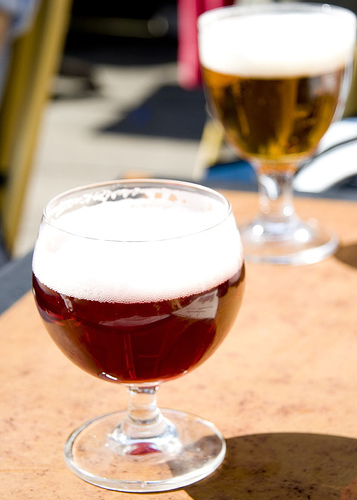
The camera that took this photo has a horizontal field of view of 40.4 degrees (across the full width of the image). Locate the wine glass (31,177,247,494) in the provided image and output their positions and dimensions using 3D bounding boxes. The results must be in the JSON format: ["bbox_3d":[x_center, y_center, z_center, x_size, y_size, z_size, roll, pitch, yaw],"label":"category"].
[{"bbox_3d":[-0.027,0.050,0.324,0.134,0.182,0.180,3,36,8],"label":"wine glass"}]
